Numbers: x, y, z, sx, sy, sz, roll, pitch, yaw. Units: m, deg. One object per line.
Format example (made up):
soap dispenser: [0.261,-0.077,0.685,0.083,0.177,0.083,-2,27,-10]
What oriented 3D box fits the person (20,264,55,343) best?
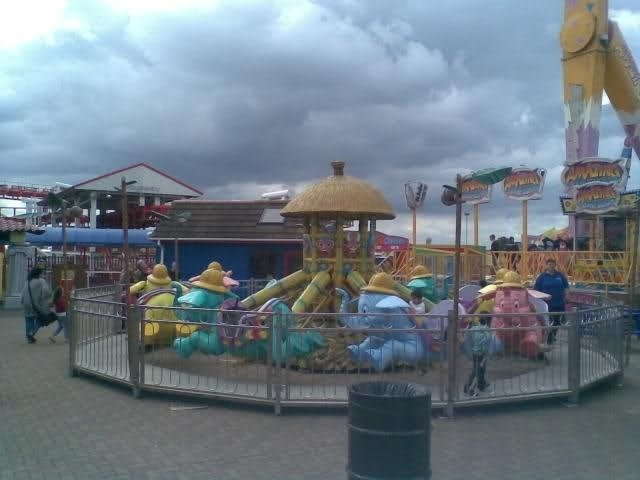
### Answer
person: [-7.346,1.664,19.167,0.774,1.960,1.461,0,0,-22]

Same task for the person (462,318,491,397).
person: [2.881,2.204,13.544,0.518,1.206,0.440,0,0,-2]

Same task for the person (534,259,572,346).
person: [5.409,1.498,16.937,0.893,2.011,0.723,-8,7,32]

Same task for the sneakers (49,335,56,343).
sneakers: [-6.894,2.564,18.945,0.107,0.163,0.235,1,1,5]

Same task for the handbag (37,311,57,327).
handbag: [-7.013,2.036,18.753,0.311,0.450,0.413,5,-19,3]
